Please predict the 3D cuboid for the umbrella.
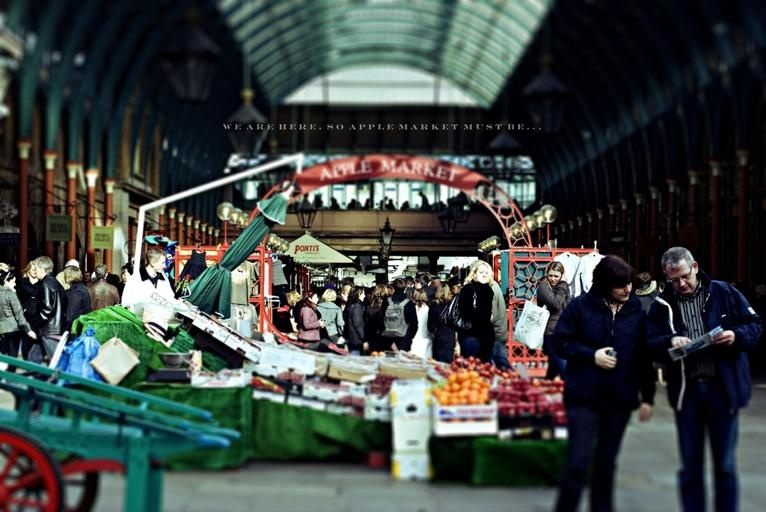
[{"bbox_3d":[-2.385,-0.005,16.148,1.411,2.290,1.468,3,0,2],"label":"umbrella"}]
